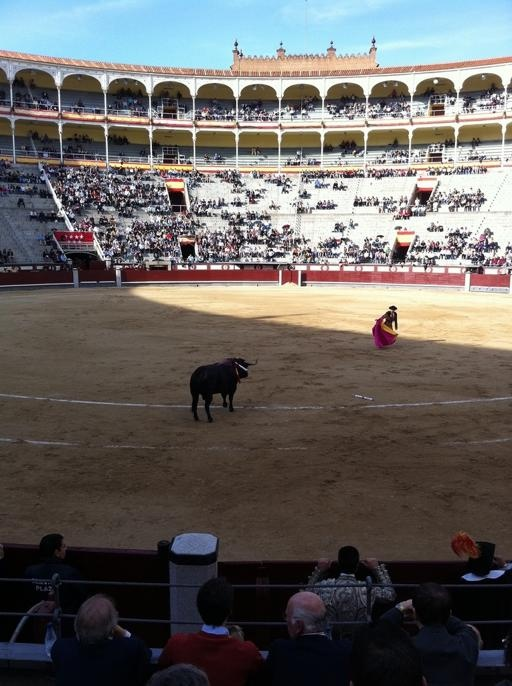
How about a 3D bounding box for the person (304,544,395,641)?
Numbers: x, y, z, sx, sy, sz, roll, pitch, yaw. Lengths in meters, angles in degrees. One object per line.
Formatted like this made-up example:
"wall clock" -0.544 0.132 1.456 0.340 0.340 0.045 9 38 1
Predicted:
"person" 0.612 1.745 5.055 0.583 0.836 0.273 -2 12 9
